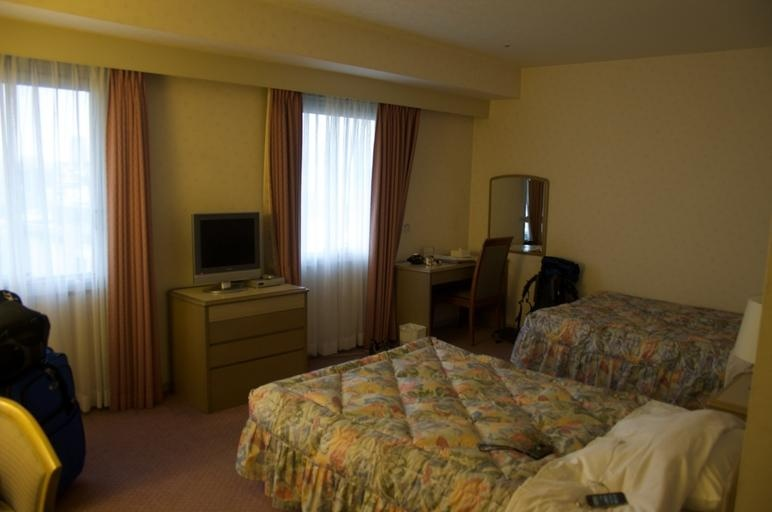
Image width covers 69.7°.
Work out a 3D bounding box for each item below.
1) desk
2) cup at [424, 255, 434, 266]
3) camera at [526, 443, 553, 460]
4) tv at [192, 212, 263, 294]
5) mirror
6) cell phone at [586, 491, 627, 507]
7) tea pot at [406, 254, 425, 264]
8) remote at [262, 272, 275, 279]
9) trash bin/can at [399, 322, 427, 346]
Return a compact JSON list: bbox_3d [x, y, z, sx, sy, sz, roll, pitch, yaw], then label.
[{"bbox_3d":[0.593,0.502,6.728,0.928,0.906,0.586,-6,10,-43],"label":"desk"},{"bbox_3d":[0.516,0.056,6.635,0.128,0.101,0.130,7,7,-1],"label":"cup"},{"bbox_3d":[0.911,1.124,3.242,0.081,0.025,0.086,-11,5,-1],"label":"camera"},{"bbox_3d":[-1.473,-0.031,5.067,0.655,0.693,0.094,-6,9,-41],"label":"tv"},{"bbox_3d":[1.666,-0.499,6.823,0.816,1.069,0.079,13,19,37],"label":"mirror"},{"bbox_3d":[1.147,1.256,2.870,0.175,0.033,0.083,0,33,1],"label":"cell phone"},{"bbox_3d":[0.361,0.041,6.692,0.114,0.092,0.160,-1,0,-22],"label":"tea pot"},{"bbox_3d":[-1.167,0.194,5.482,0.114,0.076,0.038,-3,-16,36],"label":"remote"},{"bbox_3d":[0.298,0.855,6.261,0.203,0.301,0.294,-4,8,-37],"label":"trash bin/can"}]
